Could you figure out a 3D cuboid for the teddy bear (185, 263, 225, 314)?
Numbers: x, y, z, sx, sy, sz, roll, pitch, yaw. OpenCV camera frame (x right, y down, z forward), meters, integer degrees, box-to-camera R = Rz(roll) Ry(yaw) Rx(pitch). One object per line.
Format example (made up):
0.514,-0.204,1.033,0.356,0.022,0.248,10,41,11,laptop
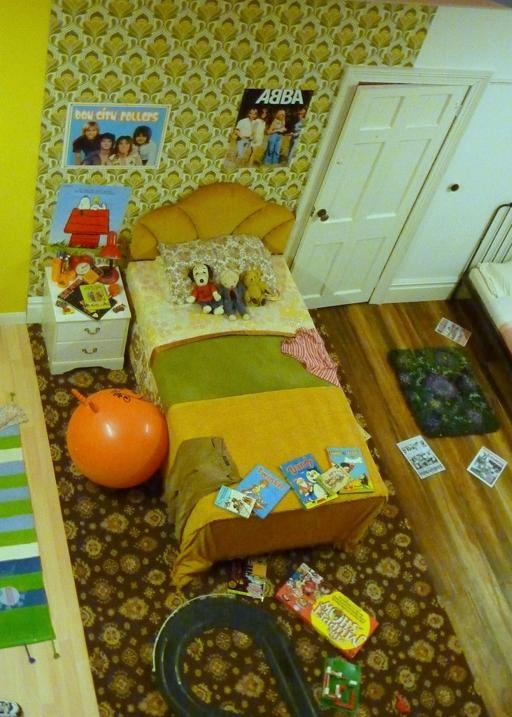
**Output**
-0.352,-0.449,3.506,0.244,0.326,0.217,-27,35,-29,teddy bear

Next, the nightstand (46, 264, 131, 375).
-1.164,-0.369,3.753,0.598,0.570,0.760,-6,58,-17,nightstand

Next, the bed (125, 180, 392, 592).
-0.100,-0.005,3.437,1.283,1.222,2.114,-9,55,-18,bed

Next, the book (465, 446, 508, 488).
1.691,0.794,3.889,0.242,0.035,0.265,32,53,8,book

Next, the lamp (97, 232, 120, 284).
-0.935,-0.680,3.507,0.199,0.306,0.180,6,13,-20,lamp

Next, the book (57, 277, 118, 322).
-1.075,-0.392,3.447,0.323,0.071,0.305,20,40,3,book

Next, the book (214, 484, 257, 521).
-0.097,0.699,2.616,0.183,0.045,0.123,18,48,8,book

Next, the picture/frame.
-0.828,-1.298,3.059,0.566,0.394,0.039,-5,57,-21,picture/frame

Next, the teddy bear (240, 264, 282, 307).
0.020,-0.505,3.686,0.208,0.248,0.142,-32,52,-26,teddy bear
